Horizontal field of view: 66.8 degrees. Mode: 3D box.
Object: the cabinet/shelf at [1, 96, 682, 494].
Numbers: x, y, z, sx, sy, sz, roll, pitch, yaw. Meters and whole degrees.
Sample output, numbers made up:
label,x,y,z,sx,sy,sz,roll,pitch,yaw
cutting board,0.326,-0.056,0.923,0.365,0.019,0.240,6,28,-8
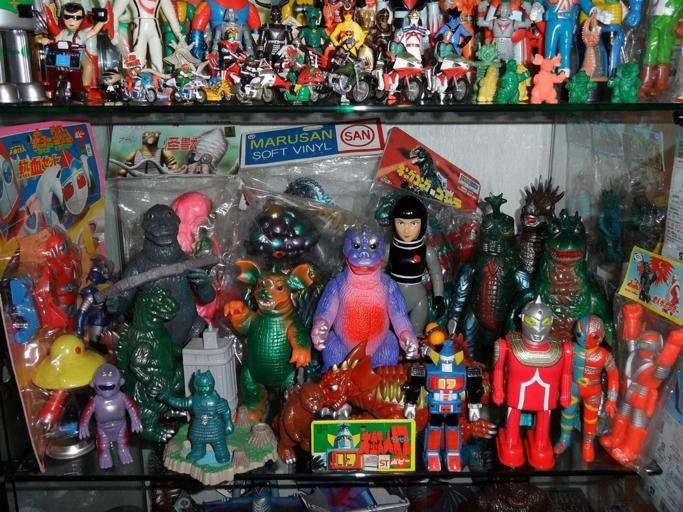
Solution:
label,x,y,z,sx,sy,sz,roll,pitch,yaw
cabinet/shelf,-0.054,-0.160,1.434,1.815,0.502,0.572,-2,10,-2
